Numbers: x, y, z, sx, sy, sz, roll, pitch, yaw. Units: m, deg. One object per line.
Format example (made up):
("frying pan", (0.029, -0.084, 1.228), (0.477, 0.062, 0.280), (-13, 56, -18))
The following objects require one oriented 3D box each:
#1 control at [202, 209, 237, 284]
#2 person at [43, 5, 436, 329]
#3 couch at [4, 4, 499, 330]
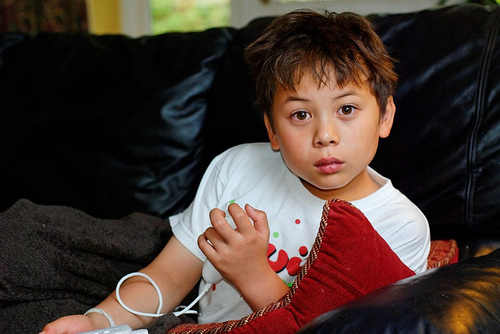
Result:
("control", (-0.093, 0.214, 1.268), (0.098, 0.197, 0.076), (12, -5, -11))
("person", (0.071, 0.074, 1.235), (0.792, 0.854, 0.867), (12, 30, 26))
("couch", (0.086, 0.004, 1.852), (1.643, 0.987, 0.840), (2, 11, 11))
